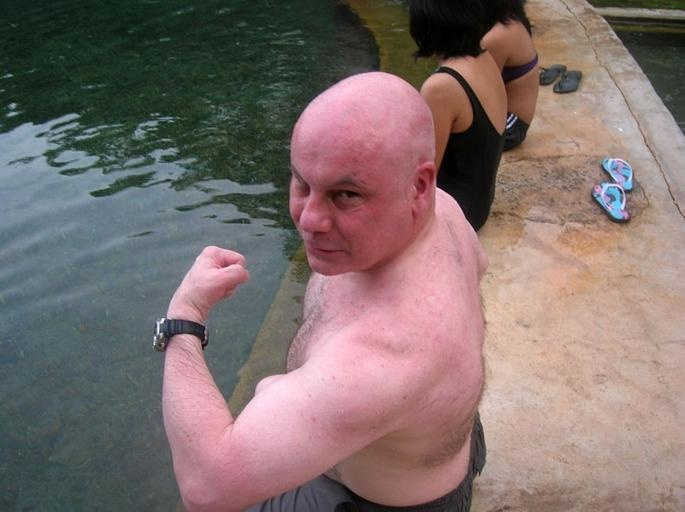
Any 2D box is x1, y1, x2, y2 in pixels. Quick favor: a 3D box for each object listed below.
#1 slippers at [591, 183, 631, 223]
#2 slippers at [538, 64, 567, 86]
[{"bbox_3d":[2.248,-0.461,5.245,0.201,0.136,0.377,-10,49,4],"label":"slippers"},{"bbox_3d":[2.291,-2.007,6.912,0.218,0.113,0.413,23,60,33],"label":"slippers"}]
